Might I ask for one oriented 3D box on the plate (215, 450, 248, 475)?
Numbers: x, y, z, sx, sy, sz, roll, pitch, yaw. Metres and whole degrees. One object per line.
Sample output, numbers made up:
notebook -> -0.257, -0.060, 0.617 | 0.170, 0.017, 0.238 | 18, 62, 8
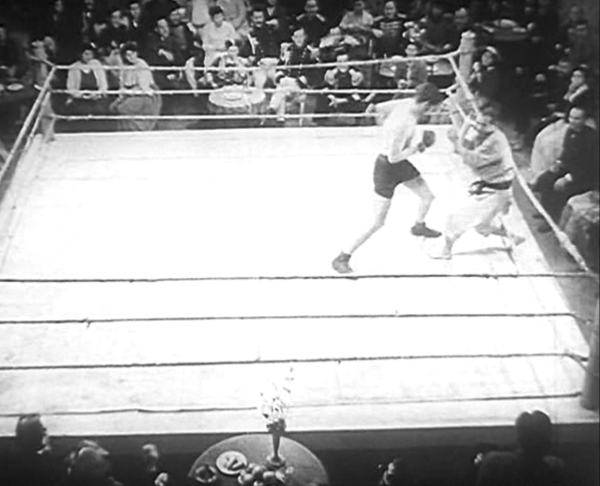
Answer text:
plate -> -0.481, 1.545, 4.483 | 0.225, 0.095, 0.137 | -2, 31, -2

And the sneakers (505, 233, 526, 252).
sneakers -> 1.703, -0.020, 5.075 | 0.171, 0.089, 0.101 | -18, 34, -25

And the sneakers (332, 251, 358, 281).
sneakers -> 0.335, 0.168, 4.956 | 0.190, 0.133, 0.157 | 3, 31, 6

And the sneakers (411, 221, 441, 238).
sneakers -> 0.984, -0.107, 5.024 | 0.271, 0.141, 0.095 | -2, 5, 10

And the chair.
chair -> -0.086, -1.395, 5.399 | 0.245, 0.780, 0.286 | 15, 24, 7
